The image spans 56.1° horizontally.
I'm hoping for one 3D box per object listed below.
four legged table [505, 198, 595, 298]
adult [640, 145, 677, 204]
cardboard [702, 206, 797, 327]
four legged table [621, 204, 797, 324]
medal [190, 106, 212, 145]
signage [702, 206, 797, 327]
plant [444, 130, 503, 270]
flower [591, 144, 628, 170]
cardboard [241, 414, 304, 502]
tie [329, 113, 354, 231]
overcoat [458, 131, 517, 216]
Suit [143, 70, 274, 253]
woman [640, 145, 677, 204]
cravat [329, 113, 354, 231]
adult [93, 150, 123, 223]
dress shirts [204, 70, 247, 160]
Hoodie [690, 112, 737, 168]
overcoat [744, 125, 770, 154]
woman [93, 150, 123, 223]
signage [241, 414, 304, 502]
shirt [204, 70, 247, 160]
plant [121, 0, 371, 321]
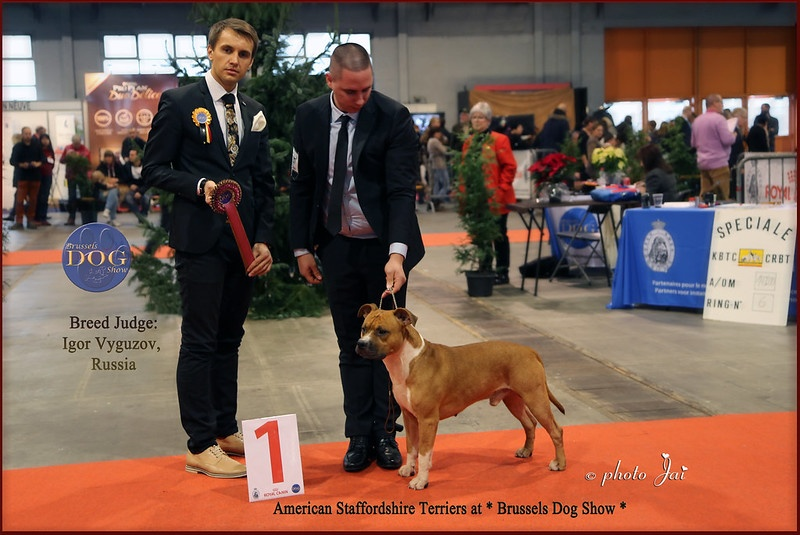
[{"bbox_3d":[2.229,-0.262,11.009,1.503,1.363,0.494,-6,23,-16],"label":"four legged table"},{"bbox_3d":[3.719,-1.364,10.789,0.497,0.794,0.697,1,12,11],"label":"adult"},{"bbox_3d":[3.856,-0.028,8.277,0.868,1.219,0.434,4,13,26],"label":"cardboard"},{"bbox_3d":[3.738,-0.123,8.820,1.304,0.866,1.605,4,5,36],"label":"four legged table"},{"bbox_3d":[-1.308,-0.950,5.006,0.128,0.255,0.023,-11,-11,-28],"label":"medal"},{"bbox_3d":[3.856,-0.028,8.277,0.868,1.219,0.434,4,13,26],"label":"signage"},{"bbox_3d":[1.023,-0.843,10.031,0.631,1.838,0.695,-1,12,4],"label":"plant"},{"bbox_3d":[3.154,-1.643,11.471,0.427,0.253,0.442,1,2,6],"label":"flower"},{"bbox_3d":[-0.822,1.236,4.887,0.375,0.533,0.012,-7,-8,6],"label":"cardboard"},{"bbox_3d":[-0.396,-0.667,5.079,0.109,0.830,0.097,2,-8,9],"label":"tie"},{"bbox_3d":[1.293,-1.377,10.589,0.837,1.104,0.623,4,20,36],"label":"overcoat"},{"bbox_3d":[-1.231,-0.692,5.193,0.907,1.222,0.614,-7,14,-43],"label":"Suit"},{"bbox_3d":[3.712,-1.360,10.769,0.510,0.794,0.684,2,12,17],"label":"woman"},{"bbox_3d":[-0.395,-0.667,5.080,0.109,0.830,0.097,2,-8,9],"label":"cravat"},{"bbox_3d":[-7.224,-2.026,18.624,0.646,1.728,1.421,-6,13,-23],"label":"adult"},{"bbox_3d":[-1.193,-1.062,5.221,0.284,0.585,0.132,-1,11,-5],"label":"dress shirts"},{"bbox_3d":[5.881,-2.384,14.118,0.707,1.106,0.509,3,12,20],"label":"Hoodie"},{"bbox_3d":[7.687,-2.773,16.125,0.385,0.551,1.234,4,13,24],"label":"overcoat"},{"bbox_3d":[-7.217,-2.020,18.594,0.655,1.728,1.335,-6,12,-20],"label":"woman"},{"bbox_3d":[-0.824,1.228,4.876,0.355,0.490,0.190,-4,12,-13],"label":"signage"},{"bbox_3d":[-1.178,-1.021,5.024,0.284,0.585,0.132,-1,11,-5],"label":"shirt"},{"bbox_3d":[-1.757,-1.379,9.506,2.645,4.008,1.206,-1,-5,-1],"label":"plant"}]
